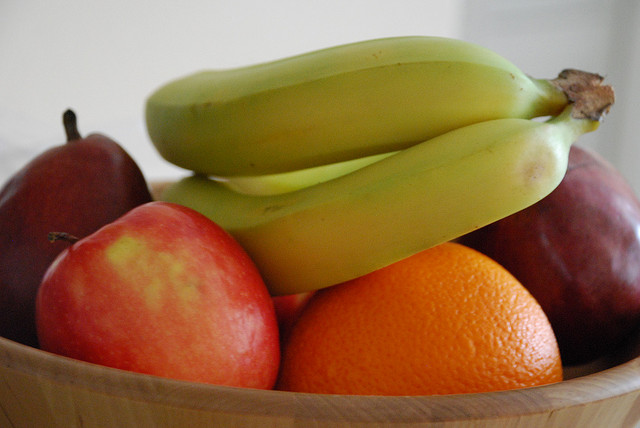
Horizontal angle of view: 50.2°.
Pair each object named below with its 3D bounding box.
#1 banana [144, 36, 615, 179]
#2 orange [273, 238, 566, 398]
[{"bbox_3d":[0.059,-0.126,0.805,0.530,0.167,0.146,-4,19,7],"label":"banana"},{"bbox_3d":[0.085,0.058,0.677,0.207,0.116,0.202,-7,9,29],"label":"orange"}]
